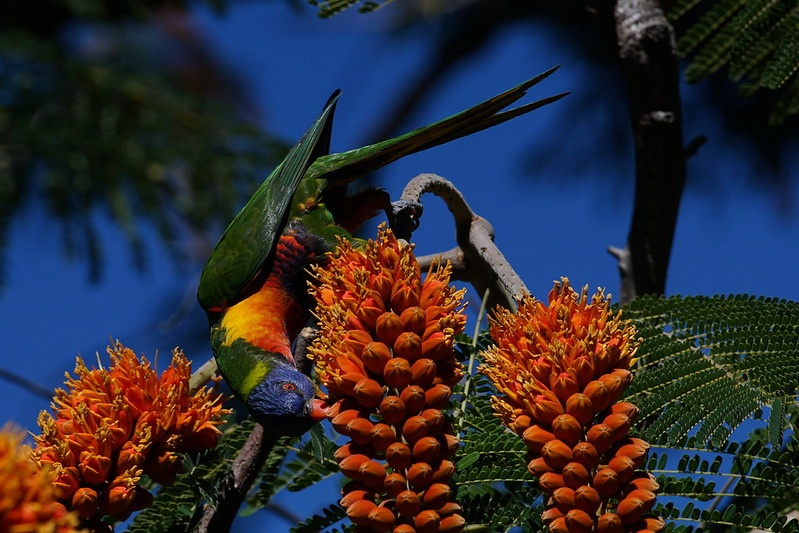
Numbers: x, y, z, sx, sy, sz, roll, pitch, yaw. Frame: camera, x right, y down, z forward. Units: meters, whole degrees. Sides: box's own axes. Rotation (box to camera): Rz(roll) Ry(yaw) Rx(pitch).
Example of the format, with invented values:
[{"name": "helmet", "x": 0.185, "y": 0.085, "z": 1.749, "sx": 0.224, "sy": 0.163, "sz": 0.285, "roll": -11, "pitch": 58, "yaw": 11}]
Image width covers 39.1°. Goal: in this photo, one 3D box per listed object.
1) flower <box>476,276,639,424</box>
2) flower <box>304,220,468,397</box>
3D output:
[{"name": "flower", "x": 0.829, "y": 0.488, "z": 5.803, "sx": 0.607, "sy": 0.546, "sz": 0.556, "roll": 45, "pitch": -2, "yaw": -16}, {"name": "flower", "x": -0.063, "y": 0.274, "z": 5.910, "sx": 0.909, "sy": 0.874, "sz": 0.393, "roll": 15, "pitch": -28, "yaw": 3}]
